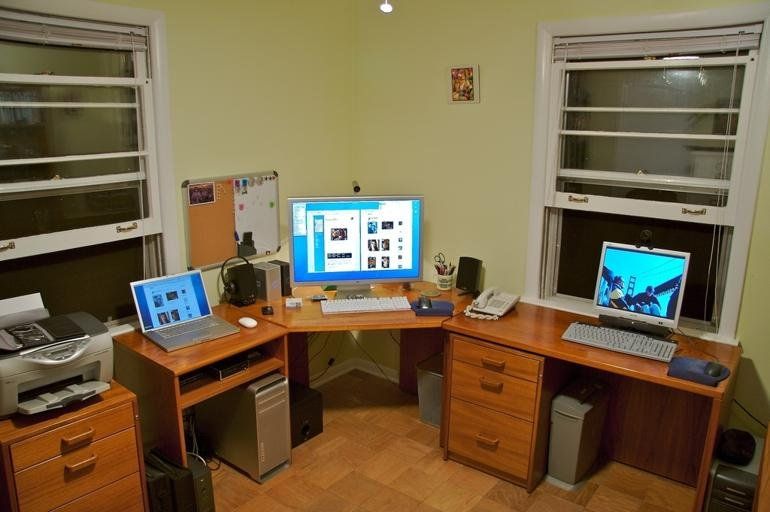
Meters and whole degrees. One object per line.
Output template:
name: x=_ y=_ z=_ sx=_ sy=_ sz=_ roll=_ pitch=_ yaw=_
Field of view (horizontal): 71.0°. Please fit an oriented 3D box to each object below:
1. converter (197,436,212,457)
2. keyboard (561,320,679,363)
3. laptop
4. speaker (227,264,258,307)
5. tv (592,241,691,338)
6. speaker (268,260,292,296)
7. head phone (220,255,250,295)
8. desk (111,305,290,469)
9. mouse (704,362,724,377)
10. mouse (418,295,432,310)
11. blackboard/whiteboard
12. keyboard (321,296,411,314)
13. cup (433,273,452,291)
converter: x=-1.185 y=1.251 z=3.538 sx=0.092 sy=0.134 sz=0.047 roll=2 pitch=-4 yaw=-11
keyboard: x=1.363 y=0.496 z=3.164 sx=0.611 sy=0.101 sz=0.224 roll=5 pitch=15 yaw=23
laptop: x=-1.267 y=0.316 z=3.274 sx=0.494 sy=0.334 sz=0.522 roll=-12 pitch=23 yaw=-41
speaker: x=-0.954 y=0.194 z=3.590 sx=0.161 sy=0.293 sz=0.245 roll=2 pitch=9 yaw=35
tv: x=1.548 y=0.205 z=3.241 sx=0.496 sy=0.530 sz=0.051 roll=10 pitch=9 yaw=33
speaker: x=-0.721 y=0.156 z=3.708 sx=0.216 sy=0.225 sz=0.078 roll=6 pitch=11 yaw=36
head phone: x=-1.005 y=0.135 z=3.604 sx=0.235 sy=0.306 sz=0.105 roll=3 pitch=-12 yaw=4
desk: x=-1.055 y=0.609 z=3.445 sx=0.774 sy=0.948 sz=1.002 roll=13 pitch=21 yaw=36
mouse: x=1.734 y=0.602 z=2.852 sx=0.079 sy=0.038 sz=0.119 roll=9 pitch=17 yaw=35
mouse: x=0.260 y=0.295 z=3.516 sx=0.089 sy=0.061 sz=0.121 roll=1 pitch=14 yaw=5
blackboard/whiteboard: x=-1.060 y=-0.244 z=3.627 sx=0.627 sy=0.515 sz=0.045 roll=-16 pitch=23 yaw=-39
keyboard: x=-0.127 y=0.323 z=3.588 sx=0.593 sy=0.050 sz=0.204 roll=-2 pitch=14 yaw=-6
cup: x=0.410 y=0.179 z=3.895 sx=0.097 sy=0.096 sz=0.121 roll=-5 pitch=13 yaw=-27
